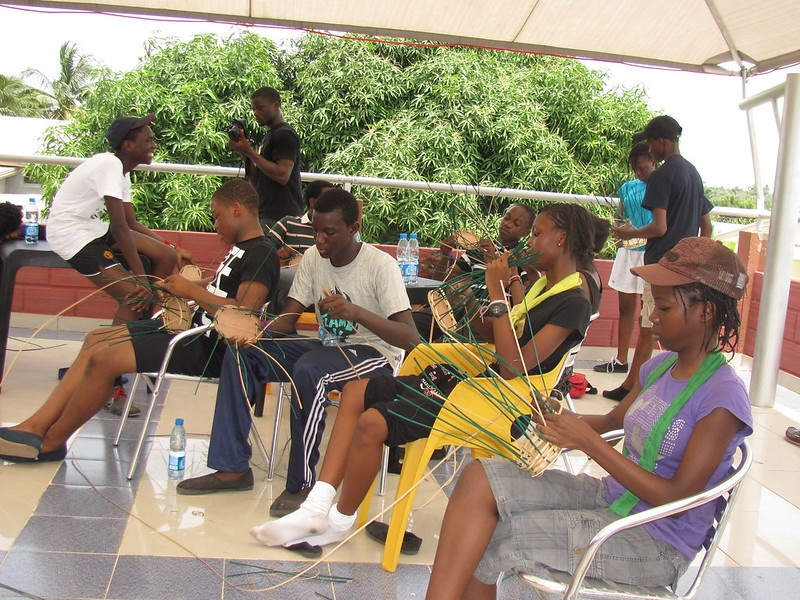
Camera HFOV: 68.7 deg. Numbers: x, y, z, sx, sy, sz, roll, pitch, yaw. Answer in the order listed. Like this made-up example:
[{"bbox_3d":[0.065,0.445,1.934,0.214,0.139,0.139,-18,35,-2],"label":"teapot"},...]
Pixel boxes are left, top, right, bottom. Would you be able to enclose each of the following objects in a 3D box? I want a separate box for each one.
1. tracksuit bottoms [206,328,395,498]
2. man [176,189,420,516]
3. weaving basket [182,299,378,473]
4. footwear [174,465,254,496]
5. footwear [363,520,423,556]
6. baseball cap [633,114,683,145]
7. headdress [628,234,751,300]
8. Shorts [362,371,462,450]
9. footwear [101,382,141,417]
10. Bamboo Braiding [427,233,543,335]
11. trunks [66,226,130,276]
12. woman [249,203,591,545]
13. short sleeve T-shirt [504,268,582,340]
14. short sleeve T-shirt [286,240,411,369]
[{"bbox_3d":[-0.453,0.511,2.736,0.733,0.796,0.756,-9,-27,44],"label":"tracksuit bottoms"},{"bbox_3d":[-0.416,0.214,2.544,1.064,1.227,0.810,-3,6,-12],"label":"man"},{"bbox_3d":[-0.462,0.427,2.695,0.796,0.710,0.650,4,15,-29],"label":"weaving basket"},{"bbox_3d":[-0.827,0.815,2.650,0.310,0.075,0.110,3,-4,-16],"label":"footwear"},{"bbox_3d":[-0.027,0.933,2.316,0.248,0.032,0.132,18,38,26],"label":"footwear"},{"bbox_3d":[1.868,-1.223,4.301,0.390,0.198,0.258,14,24,22],"label":"baseball cap"},{"bbox_3d":[0.786,-0.104,1.597,0.302,0.136,0.196,11,15,1],"label":"headdress"},{"bbox_3d":[0.095,0.417,2.253,0.398,0.135,0.275,-23,36,-18],"label":"Shorts"},{"bbox_3d":[-1.654,0.610,3.558,0.174,0.186,0.465,0,2,-42],"label":"footwear"},{"bbox_3d":[0.349,-0.060,2.199,0.463,0.331,0.124,-26,-19,28],"label":"Bamboo Braiding"},{"bbox_3d":[-1.827,-0.271,3.561,0.363,0.123,0.228,-29,-34,1],"label":"trunks"},{"bbox_3d":[-0.128,0.173,2.881,1.715,1.835,0.887,8,4,-5],"label":"woman"},{"bbox_3d":[0.534,0.021,2.172,0.146,0.246,0.210,27,5,-19],"label":"short sleeve T-shirt"},{"bbox_3d":[-0.229,0.035,2.565,0.625,0.484,0.323,13,18,34],"label":"short sleeve T-shirt"}]
